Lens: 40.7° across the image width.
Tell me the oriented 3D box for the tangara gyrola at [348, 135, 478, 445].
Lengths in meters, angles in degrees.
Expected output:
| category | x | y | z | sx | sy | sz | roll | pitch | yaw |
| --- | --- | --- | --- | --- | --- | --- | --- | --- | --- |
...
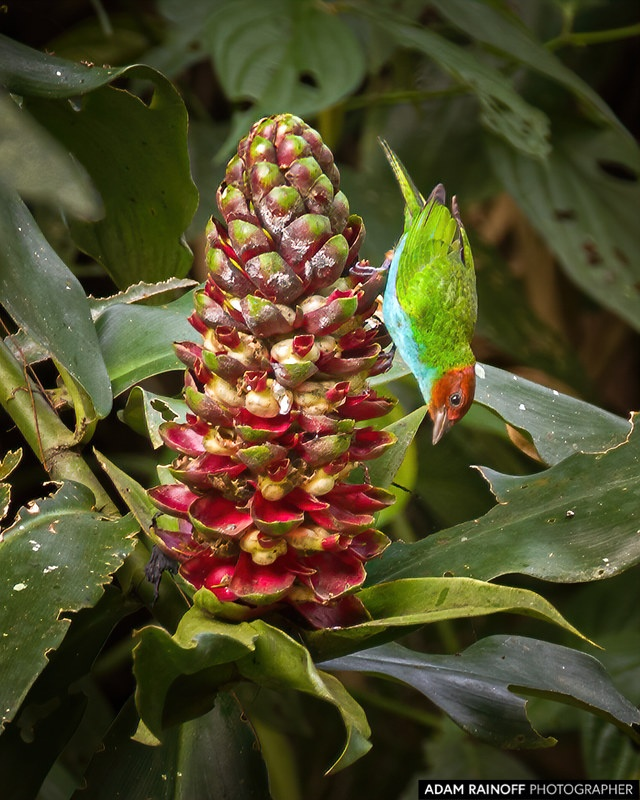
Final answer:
| category | x | y | z | sx | sy | sz | roll | pitch | yaw |
| --- | --- | --- | --- | --- | --- | --- | --- | --- | --- |
| tangara gyrola | 0.106 | -0.088 | 0.799 | 0.130 | 0.279 | 0.115 | -24 | 51 | -21 |
